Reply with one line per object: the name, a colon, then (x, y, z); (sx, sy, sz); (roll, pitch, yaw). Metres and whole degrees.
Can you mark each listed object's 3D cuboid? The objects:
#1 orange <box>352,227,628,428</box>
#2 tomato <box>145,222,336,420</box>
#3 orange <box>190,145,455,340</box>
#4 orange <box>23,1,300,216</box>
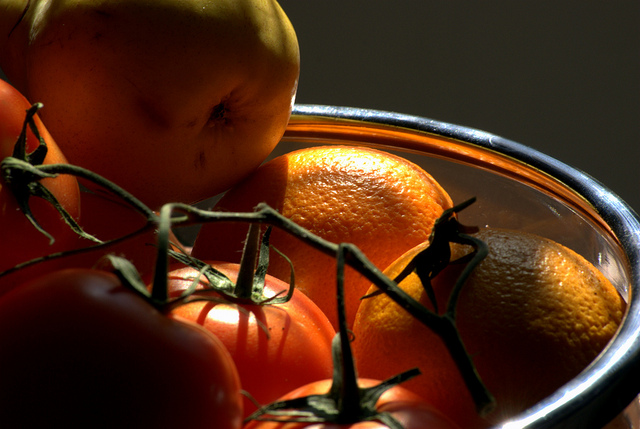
orange: (0.121, 0.081, 0.590); (0.161, 0.115, 0.156); (-10, -8, 3)
tomato: (-0.079, 0.076, 0.633); (0.149, 0.178, 0.140); (2, 1, -15)
orange: (0.034, 0.006, 0.695); (0.163, 0.147, 0.157); (1, 11, 8)
orange: (-0.118, -0.077, 0.720); (0.244, 0.188, 0.201); (-8, 8, 14)
